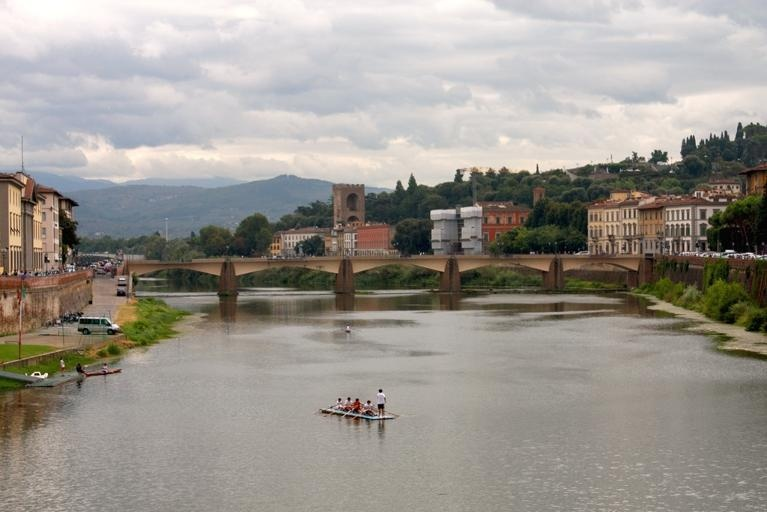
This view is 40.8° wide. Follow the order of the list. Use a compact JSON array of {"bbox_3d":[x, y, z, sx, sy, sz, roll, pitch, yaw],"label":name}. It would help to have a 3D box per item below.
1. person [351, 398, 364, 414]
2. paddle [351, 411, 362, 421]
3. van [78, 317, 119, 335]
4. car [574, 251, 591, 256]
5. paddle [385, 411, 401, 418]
[{"bbox_3d":[-1.657,9.580,65.820,0.632,1.387,0.443,2,8,11],"label":"person"},{"bbox_3d":[-1.675,9.971,64.626,0.654,0.274,0.850,1,9,5],"label":"paddle"},{"bbox_3d":[-23.705,5.839,85.362,2.661,1.114,1.560,-1,0,-4],"label":"van"},{"bbox_3d":[32.771,-0.362,170.008,1.910,1.086,1.195,7,0,-1],"label":"car"},{"bbox_3d":[0.617,9.983,64.871,0.914,0.079,1.014,2,9,6],"label":"paddle"}]
